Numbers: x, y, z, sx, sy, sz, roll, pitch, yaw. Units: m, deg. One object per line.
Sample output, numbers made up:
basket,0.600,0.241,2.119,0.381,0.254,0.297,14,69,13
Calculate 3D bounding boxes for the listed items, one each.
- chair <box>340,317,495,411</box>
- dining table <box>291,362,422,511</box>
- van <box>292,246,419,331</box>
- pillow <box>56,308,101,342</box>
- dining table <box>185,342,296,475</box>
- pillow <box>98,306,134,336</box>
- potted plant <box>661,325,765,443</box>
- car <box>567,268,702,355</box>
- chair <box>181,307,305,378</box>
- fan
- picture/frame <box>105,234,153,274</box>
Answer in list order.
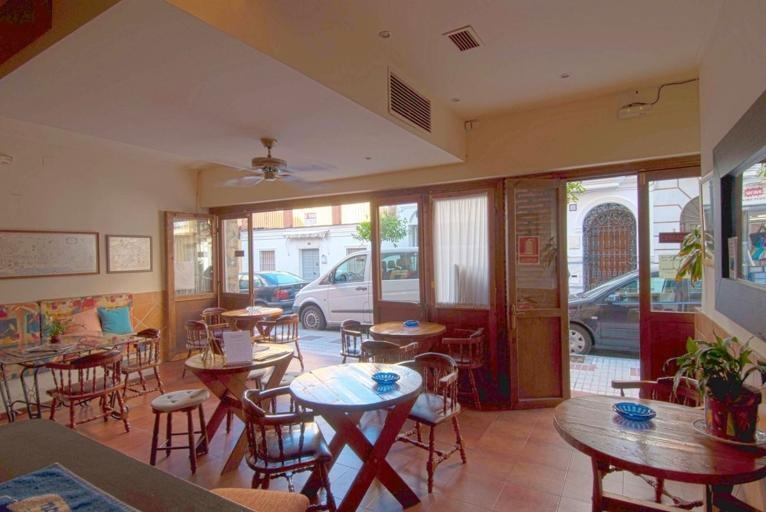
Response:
chair,0.490,1.406,5.854,1.208,0.602,1.230,-1,0,3
dining table,-0.240,1.426,4.280,1.120,0.996,1.086,-1,5,-1
van,-0.462,0.604,8.334,2.245,1.211,1.191,2,1,24
pillow,-3.835,0.855,6.324,0.114,0.386,0.389,-38,-18,29
dining table,-1.438,1.446,4.774,0.890,1.123,1.207,8,11,24
pillow,-3.713,0.900,6.703,0.125,0.349,0.364,-28,-20,31
potted plant,2.379,0.845,3.523,0.673,0.681,0.679,-2,0,-12
car,3.387,0.866,6.683,1.485,0.846,0.843,2,2,20
chair,-1.684,0.984,6.241,1.113,0.561,1.133,1,0,5
fan,-1.250,-1.033,5.239,0.988,0.448,0.780,0,10,-28
picture/frame,-3.792,-0.025,7.186,0.042,0.495,0.597,-3,-2,26
